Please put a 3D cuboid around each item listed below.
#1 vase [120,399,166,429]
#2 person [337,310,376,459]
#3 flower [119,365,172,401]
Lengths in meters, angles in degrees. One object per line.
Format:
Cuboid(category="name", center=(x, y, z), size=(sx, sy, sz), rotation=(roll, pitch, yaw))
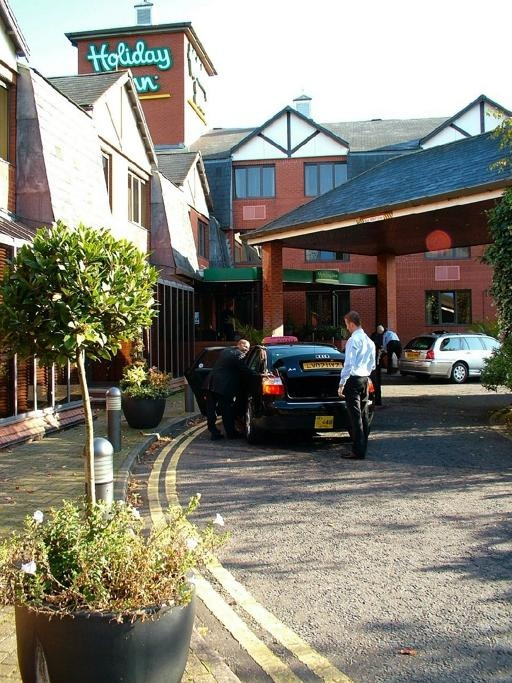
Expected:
Cuboid(category="vase", center=(-1.901, 1.161, 11.309), size=(0.547, 0.434, 0.554), rotation=(0, -5, -1))
Cuboid(category="person", center=(1.261, 0.521, 8.413), size=(0.457, 1.813, 0.742), rotation=(-2, 0, 9))
Cuboid(category="flower", center=(-1.943, 0.728, 11.751), size=(0.667, 0.517, 0.871), rotation=(0, 1, 1))
